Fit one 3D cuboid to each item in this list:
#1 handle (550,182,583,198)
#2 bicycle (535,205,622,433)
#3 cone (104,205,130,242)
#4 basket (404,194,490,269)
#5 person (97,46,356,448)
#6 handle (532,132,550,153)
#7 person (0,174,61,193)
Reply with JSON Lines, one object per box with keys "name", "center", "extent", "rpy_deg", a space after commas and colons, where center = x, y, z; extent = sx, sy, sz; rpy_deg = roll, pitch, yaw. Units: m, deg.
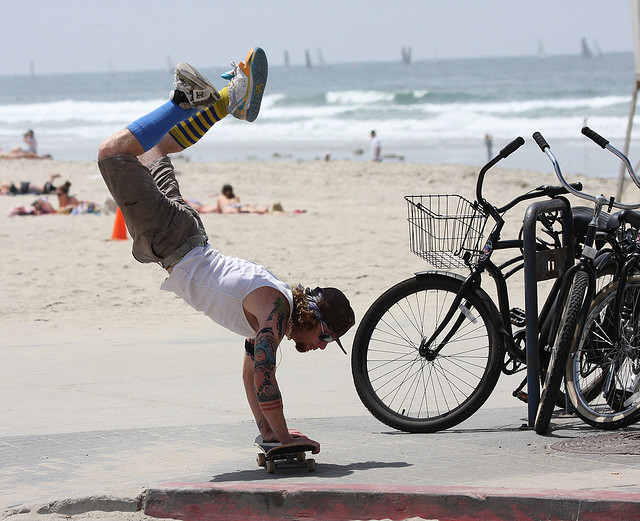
{"name": "handle", "center": [1.802, -0.512, 9.193], "extent": [0.216, 0.109, 0.316], "rpy_deg": [-1, 7, 10]}
{"name": "bicycle", "center": [1.879, 0.424, 9.159], "extent": [0.477, 1.568, 0.818], "rpy_deg": [3, 9, 35]}
{"name": "cone", "center": [-2.826, -0.489, 17.555], "extent": [0.346, 0.452, 0.756], "rpy_deg": [-4, 7, -9]}
{"name": "basket", "center": [1.020, -0.295, 9.580], "extent": [0.764, 0.573, 0.884], "rpy_deg": [6, -3, -1]}
{"name": "person", "center": [-0.623, -0.067, 8.682], "extent": [1.495, 2.595, 0.771], "rpy_deg": [0, 8, 20]}
{"name": "handle", "center": [1.624, -0.890, 9.291], "extent": [0.070, 0.196, 0.068], "rpy_deg": [-30, -44, 12]}
{"name": "person", "center": [-5.407, -1.339, 23.502], "extent": [0.943, 0.285, 0.600], "rpy_deg": [6, 3, 6]}
